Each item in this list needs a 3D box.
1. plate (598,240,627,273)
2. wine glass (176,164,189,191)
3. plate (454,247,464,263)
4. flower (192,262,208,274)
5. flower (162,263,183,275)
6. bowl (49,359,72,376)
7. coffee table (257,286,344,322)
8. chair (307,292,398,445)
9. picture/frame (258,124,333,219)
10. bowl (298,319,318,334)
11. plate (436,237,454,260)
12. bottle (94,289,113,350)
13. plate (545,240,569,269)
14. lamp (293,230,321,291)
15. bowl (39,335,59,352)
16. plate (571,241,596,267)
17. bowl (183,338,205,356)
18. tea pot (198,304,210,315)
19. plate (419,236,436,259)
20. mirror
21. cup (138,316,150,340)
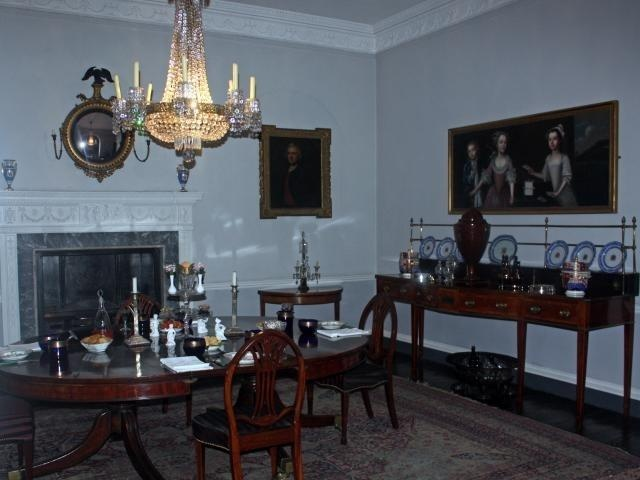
[{"bbox_3d":[2.786,0.156,5.295,0.232,0.274,0.153,2,6,28],"label":"plate"},{"bbox_3d":[-1.671,-0.755,6.752,0.158,0.333,0.211,-2,6,-15],"label":"wine glass"},{"bbox_3d":[1.647,0.166,6.654,0.039,0.183,0.171,-3,3,-30],"label":"plate"},{"bbox_3d":[-1.255,0.280,5.734,0.159,0.085,0.220,5,-5,-24],"label":"flower"},{"bbox_3d":[-1.551,0.291,5.794,0.164,0.053,0.162,4,5,43],"label":"flower"},{"bbox_3d":[-1.678,0.817,3.558,0.103,0.105,0.105,3,4,0],"label":"bowl"},{"bbox_3d":[-0.222,0.777,6.903,0.953,0.533,0.514,-3,18,7],"label":"coffee table"},{"bbox_3d":[0.306,1.055,4.916,0.689,1.165,0.653,1,3,-22],"label":"chair"},{"bbox_3d":[-0.380,-0.923,7.393,1.178,1.381,0.069,-1,2,-28],"label":"picture/frame"},{"bbox_3d":[-0.101,0.666,4.355,0.114,0.073,0.116,-1,-5,0],"label":"bowl"},{"bbox_3d":[1.530,0.100,6.812,0.146,0.266,0.398,-2,6,-19],"label":"plate"},{"bbox_3d":[-1.636,0.570,4.144,0.188,0.399,0.189,-3,0,0],"label":"bottle"},{"bbox_3d":[2.444,0.143,5.726,0.225,0.287,0.144,2,6,22],"label":"plate"},{"bbox_3d":[-0.164,0.246,7.415,0.392,0.717,0.323,-2,6,-17],"label":"lamp"},{"bbox_3d":[-1.881,0.711,3.835,0.129,0.099,0.230,-1,-2,-4],"label":"bowl"},{"bbox_3d":[2.615,0.135,5.498,0.231,0.249,0.187,2,6,27],"label":"plate"},{"bbox_3d":[-0.874,0.730,3.835,0.125,0.100,0.130,0,-3,0],"label":"bowl"},{"bbox_3d":[-1.036,0.624,4.932,0.075,0.085,0.087,5,13,6],"label":"tea pot"},{"bbox_3d":[1.358,0.090,7.090,0.133,0.269,0.263,-3,6,-24],"label":"plate"},{"bbox_3d":[-2.557,-1.329,6.454,1.056,1.408,0.113,-2,-12,-18],"label":"mirror"},{"bbox_3d":[-1.427,0.707,4.497,0.128,0.221,0.134,2,8,0],"label":"cup"}]
